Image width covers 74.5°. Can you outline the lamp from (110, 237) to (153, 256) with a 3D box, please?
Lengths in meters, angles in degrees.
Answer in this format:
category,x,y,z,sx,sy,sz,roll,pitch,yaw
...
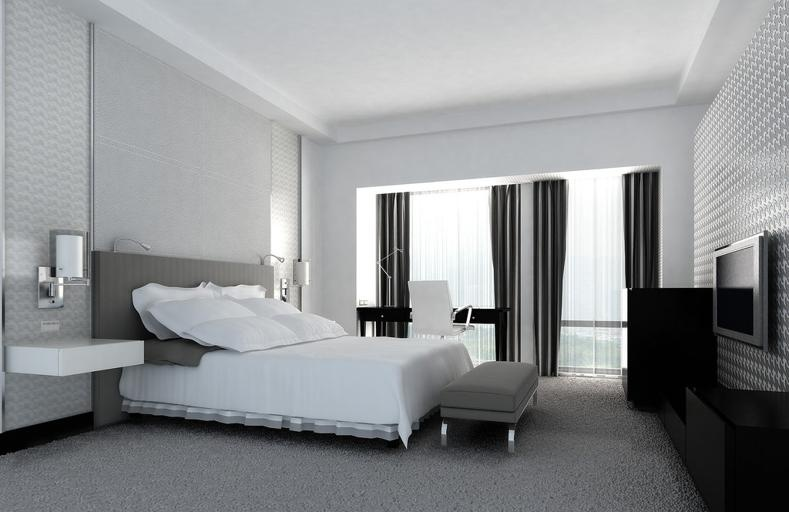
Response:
category,x,y,z,sx,sy,sz,roll,pitch,yaw
lamp,-2.668,-0.120,5.191,0.106,0.229,0.448,0,-4,41

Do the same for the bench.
category,x,y,z,sx,sy,sz,roll,pitch,yaw
bench,0.859,1.334,4.796,0.659,0.571,1.064,2,4,25

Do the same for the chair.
category,x,y,z,sx,sy,sz,roll,pitch,yaw
chair,0.645,0.680,6.969,0.800,1.117,0.805,-3,-2,34

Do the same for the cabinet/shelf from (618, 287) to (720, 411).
category,x,y,z,sx,sy,sz,roll,pitch,yaw
cabinet/shelf,2.722,0.886,5.107,0.722,1.375,1.267,-1,-2,17

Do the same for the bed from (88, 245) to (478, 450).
category,x,y,z,sx,sy,sz,roll,pitch,yaw
bed,-0.882,1.079,5.048,2.197,1.178,2.231,-2,-3,17

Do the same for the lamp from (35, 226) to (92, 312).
category,x,y,z,sx,sy,sz,roll,pitch,yaw
lamp,-2.993,0.105,4.680,0.397,0.710,0.341,-2,4,-26
